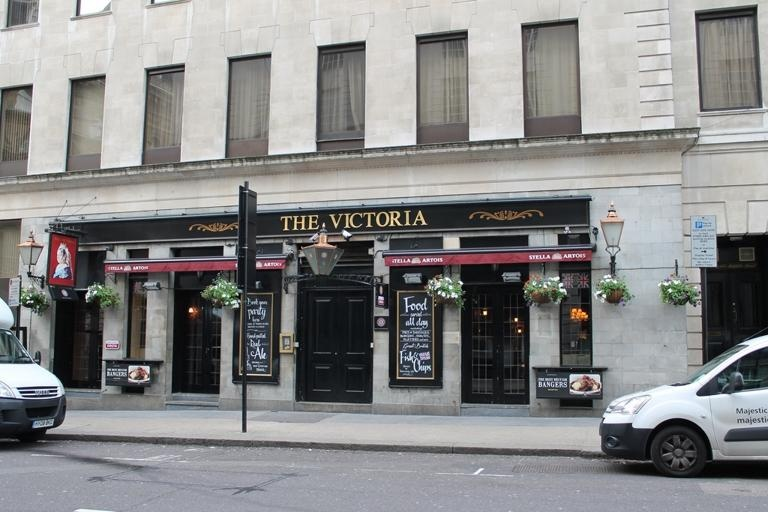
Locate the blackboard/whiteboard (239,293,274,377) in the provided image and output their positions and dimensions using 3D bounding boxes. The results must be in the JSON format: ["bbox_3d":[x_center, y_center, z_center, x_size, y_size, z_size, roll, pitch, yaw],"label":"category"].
[{"bbox_3d":[-3.946,2.420,33.207,1.009,2.558,0.703,1,-1,8],"label":"blackboard/whiteboard"}]

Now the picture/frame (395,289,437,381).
[{"bbox_3d":[0.964,2.456,32.482,1.594,2.653,0.067,-1,-5,13],"label":"picture/frame"}]

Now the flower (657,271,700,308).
[{"bbox_3d":[8.401,1.012,31.304,0.975,0.617,0.959,1,2,0],"label":"flower"}]

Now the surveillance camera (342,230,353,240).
[{"bbox_3d":[-1.154,-0.627,32.715,0.235,0.095,0.294,-17,-22,19],"label":"surveillance camera"}]

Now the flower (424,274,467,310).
[{"bbox_3d":[1.831,1.081,32.084,1.026,0.667,1.027,-5,-13,41],"label":"flower"}]

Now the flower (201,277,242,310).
[{"bbox_3d":[-5.148,1.099,33.831,1.050,0.933,0.977,5,7,-33],"label":"flower"}]

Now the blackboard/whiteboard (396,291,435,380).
[{"bbox_3d":[0.952,2.470,32.486,1.461,2.562,0.067,0,-6,11],"label":"blackboard/whiteboard"}]

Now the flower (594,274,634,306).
[{"bbox_3d":[6.571,0.963,31.197,0.936,0.620,0.890,1,-9,6],"label":"flower"}]

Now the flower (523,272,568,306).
[{"bbox_3d":[4.653,0.989,31.836,1.007,0.621,0.958,1,-7,-2],"label":"flower"}]

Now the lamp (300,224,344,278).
[{"bbox_3d":[-1.905,-0.068,31.595,0.814,1.659,1.041,-3,0,31],"label":"lamp"}]

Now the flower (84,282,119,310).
[{"bbox_3d":[-9.154,1.292,35.115,0.966,0.604,0.929,6,-2,-16],"label":"flower"}]
